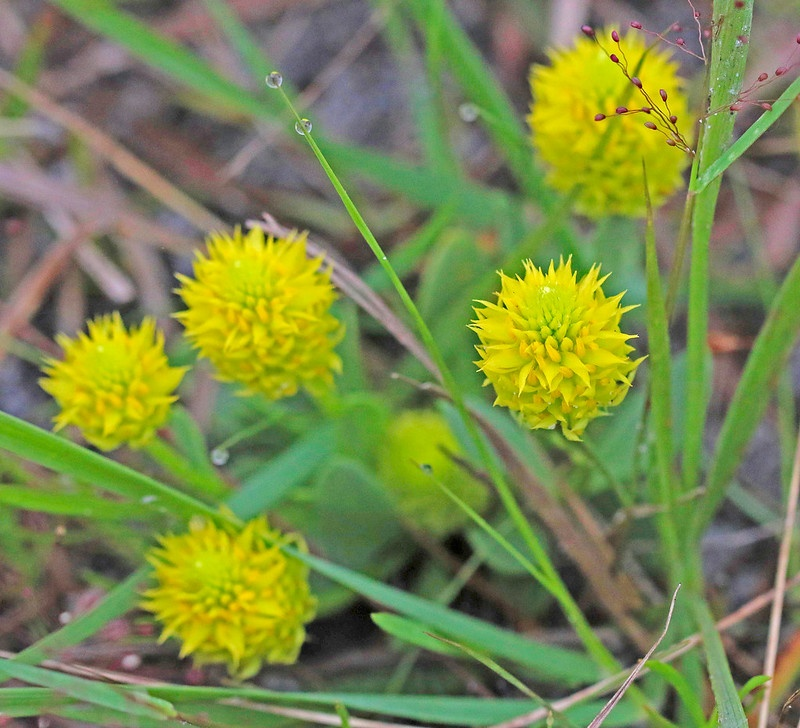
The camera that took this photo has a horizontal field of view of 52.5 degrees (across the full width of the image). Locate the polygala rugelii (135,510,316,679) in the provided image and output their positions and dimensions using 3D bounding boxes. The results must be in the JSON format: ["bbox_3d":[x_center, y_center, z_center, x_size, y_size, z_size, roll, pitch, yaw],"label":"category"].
[{"bbox_3d":[-0.222,0.218,0.852,0.169,0.175,0.106,-5,101,-12],"label":"polygala rugelii"}]

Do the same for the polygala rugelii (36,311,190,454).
[{"bbox_3d":[-0.305,0.013,0.864,0.159,0.146,0.106,6,91,-19],"label":"polygala rugelii"}]

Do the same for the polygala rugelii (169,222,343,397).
[{"bbox_3d":[-0.168,-0.033,0.850,0.170,0.161,0.189,5,78,11],"label":"polygala rugelii"}]

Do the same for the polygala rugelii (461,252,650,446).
[{"bbox_3d":[0.152,-0.019,0.793,0.166,0.169,0.162,0,68,13],"label":"polygala rugelii"}]
